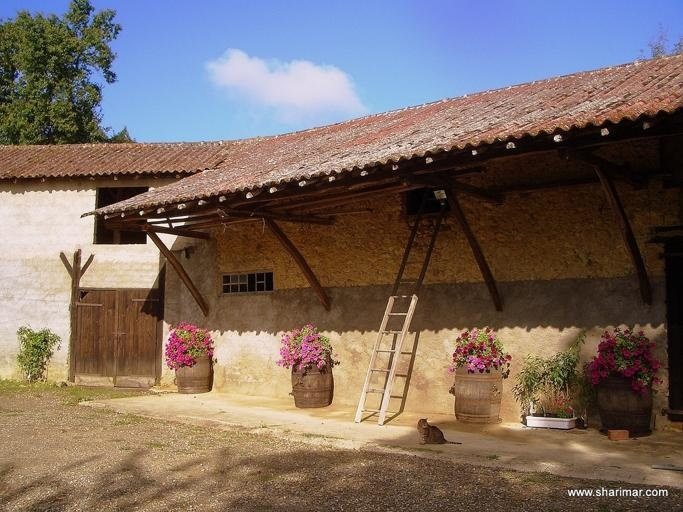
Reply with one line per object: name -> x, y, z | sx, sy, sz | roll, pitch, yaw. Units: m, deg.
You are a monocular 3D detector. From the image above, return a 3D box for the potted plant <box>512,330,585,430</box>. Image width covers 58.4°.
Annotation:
potted plant -> 3.238, 1.850, 9.473 | 1.053, 1.383, 0.437 | -3, -7, 19

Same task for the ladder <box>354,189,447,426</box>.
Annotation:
ladder -> 1.074, 0.770, 10.583 | 1.537, 3.955, 1.657 | -1, -6, 3

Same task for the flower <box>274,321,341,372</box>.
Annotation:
flower -> -0.688, 1.621, 11.349 | 0.995, 0.642, 0.958 | 3, -4, -28

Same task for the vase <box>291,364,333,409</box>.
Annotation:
vase -> -0.517, 2.411, 11.336 | 0.755, 0.677, 0.730 | 3, -6, -38

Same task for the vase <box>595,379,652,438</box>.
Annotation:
vase -> 4.006, 2.154, 8.774 | 0.823, 0.782, 0.768 | 1, -6, -8

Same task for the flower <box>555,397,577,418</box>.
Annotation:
flower -> 3.329, 2.327, 9.318 | 0.359, 0.352, 0.260 | -1, -25, 2

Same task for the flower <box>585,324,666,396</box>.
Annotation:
flower -> 4.089, 1.433, 8.915 | 0.667, 0.660, 0.747 | -20, -1, -28

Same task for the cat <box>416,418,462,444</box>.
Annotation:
cat -> 1.245, 2.464, 8.543 | 0.803, 0.356, 0.241 | 7, -10, 10
